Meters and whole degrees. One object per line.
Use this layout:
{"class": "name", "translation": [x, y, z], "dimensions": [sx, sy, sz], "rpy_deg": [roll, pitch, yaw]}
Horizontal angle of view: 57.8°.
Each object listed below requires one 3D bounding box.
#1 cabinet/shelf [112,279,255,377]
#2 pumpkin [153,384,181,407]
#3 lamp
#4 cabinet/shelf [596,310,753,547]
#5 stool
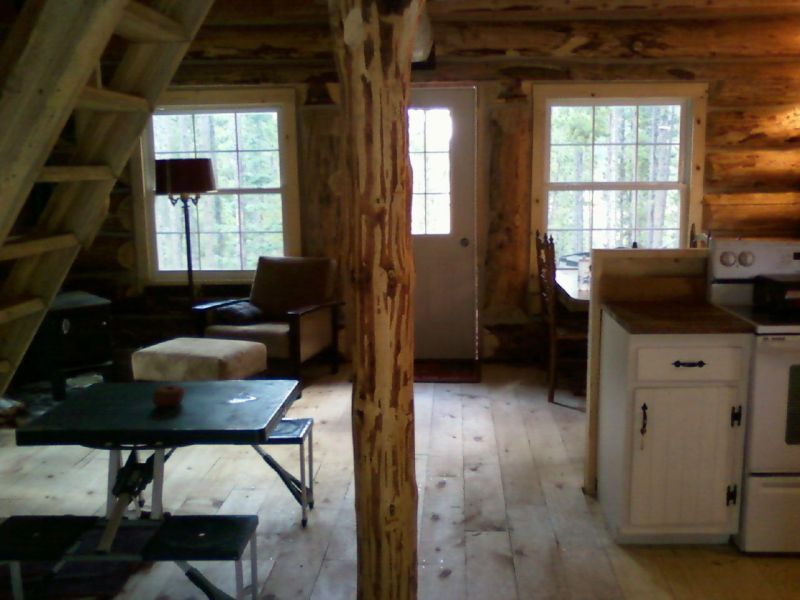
{"class": "cabinet/shelf", "translation": [-2.015, 0.227, 6.631], "dimensions": [0.862, 0.882, 0.990], "rpy_deg": [-1, 1, -6]}
{"class": "pumpkin", "translation": [-1.118, 0.467, 3.534], "dimensions": [0.104, 0.091, 0.109], "rpy_deg": [27, 15, 32]}
{"class": "lamp", "translation": [-1.804, -0.586, 6.202], "dimensions": [0.466, 1.246, 0.639], "rpy_deg": [0, 7, -12]}
{"class": "cabinet/shelf", "translation": [1.385, 0.641, 3.707], "dimensions": [0.636, 1.190, 0.441], "rpy_deg": [1, 7, 0]}
{"class": "stool", "translation": [-1.487, 0.451, 5.278], "dimensions": [0.914, 0.279, 0.480], "rpy_deg": [2, 6, 1]}
